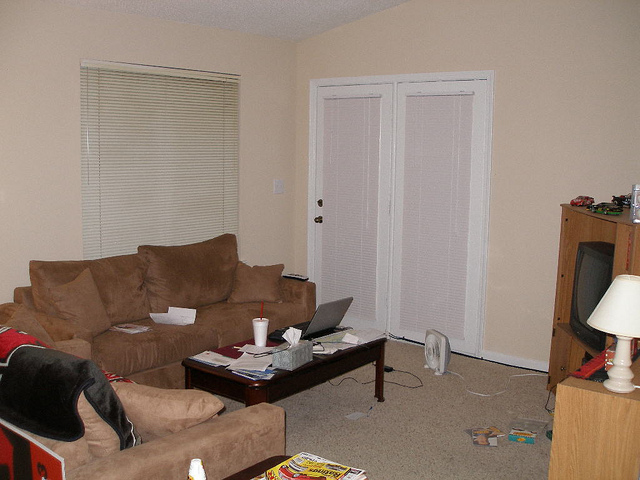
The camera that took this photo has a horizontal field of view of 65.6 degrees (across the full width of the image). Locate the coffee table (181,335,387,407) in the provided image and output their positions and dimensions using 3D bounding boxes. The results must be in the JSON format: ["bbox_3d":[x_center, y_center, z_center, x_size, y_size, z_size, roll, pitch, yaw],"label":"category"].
[{"bbox_3d":[-0.141,0.854,3.343,1.396,0.228,0.536,-6,11,-33],"label":"coffee table"}]

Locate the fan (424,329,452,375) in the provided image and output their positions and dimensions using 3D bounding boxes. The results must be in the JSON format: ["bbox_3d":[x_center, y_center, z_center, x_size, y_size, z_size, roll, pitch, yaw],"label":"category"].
[{"bbox_3d":[1.072,1.004,4.474,0.193,0.343,0.377,2,2,-10],"label":"fan"}]

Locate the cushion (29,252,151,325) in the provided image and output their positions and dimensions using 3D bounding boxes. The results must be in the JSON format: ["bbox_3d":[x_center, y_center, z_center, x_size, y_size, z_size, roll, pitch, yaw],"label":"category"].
[{"bbox_3d":[-1.779,0.433,3.974,0.367,0.620,1.038,8,10,20],"label":"cushion"}]

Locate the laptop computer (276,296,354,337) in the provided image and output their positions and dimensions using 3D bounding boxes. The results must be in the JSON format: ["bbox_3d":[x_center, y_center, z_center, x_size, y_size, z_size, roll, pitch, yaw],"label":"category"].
[{"bbox_3d":[0.015,0.551,3.651,0.245,0.267,0.382,8,12,40],"label":"laptop computer"}]

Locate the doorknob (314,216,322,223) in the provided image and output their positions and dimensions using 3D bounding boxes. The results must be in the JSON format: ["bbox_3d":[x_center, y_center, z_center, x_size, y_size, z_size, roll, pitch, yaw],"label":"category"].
[{"bbox_3d":[-0.026,-0.232,5.550,0.090,0.074,0.032,2,10,8],"label":"doorknob"}]

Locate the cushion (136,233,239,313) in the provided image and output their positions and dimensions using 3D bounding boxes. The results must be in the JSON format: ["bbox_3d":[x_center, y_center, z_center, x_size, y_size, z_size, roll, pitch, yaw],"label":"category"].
[{"bbox_3d":[-1.198,0.355,4.583,0.364,0.639,1.095,-26,-7,29],"label":"cushion"}]

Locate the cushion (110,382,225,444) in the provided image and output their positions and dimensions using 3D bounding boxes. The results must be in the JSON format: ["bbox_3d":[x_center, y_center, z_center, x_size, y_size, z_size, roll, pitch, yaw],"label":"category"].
[{"bbox_3d":[-0.643,0.727,2.057,0.474,0.357,0.173,1,17,2],"label":"cushion"}]

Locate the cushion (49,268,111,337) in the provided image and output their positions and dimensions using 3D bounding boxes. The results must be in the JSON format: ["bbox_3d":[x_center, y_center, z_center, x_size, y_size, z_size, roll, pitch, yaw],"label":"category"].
[{"bbox_3d":[-1.748,0.461,3.575,0.214,0.400,0.437,6,14,25],"label":"cushion"}]
